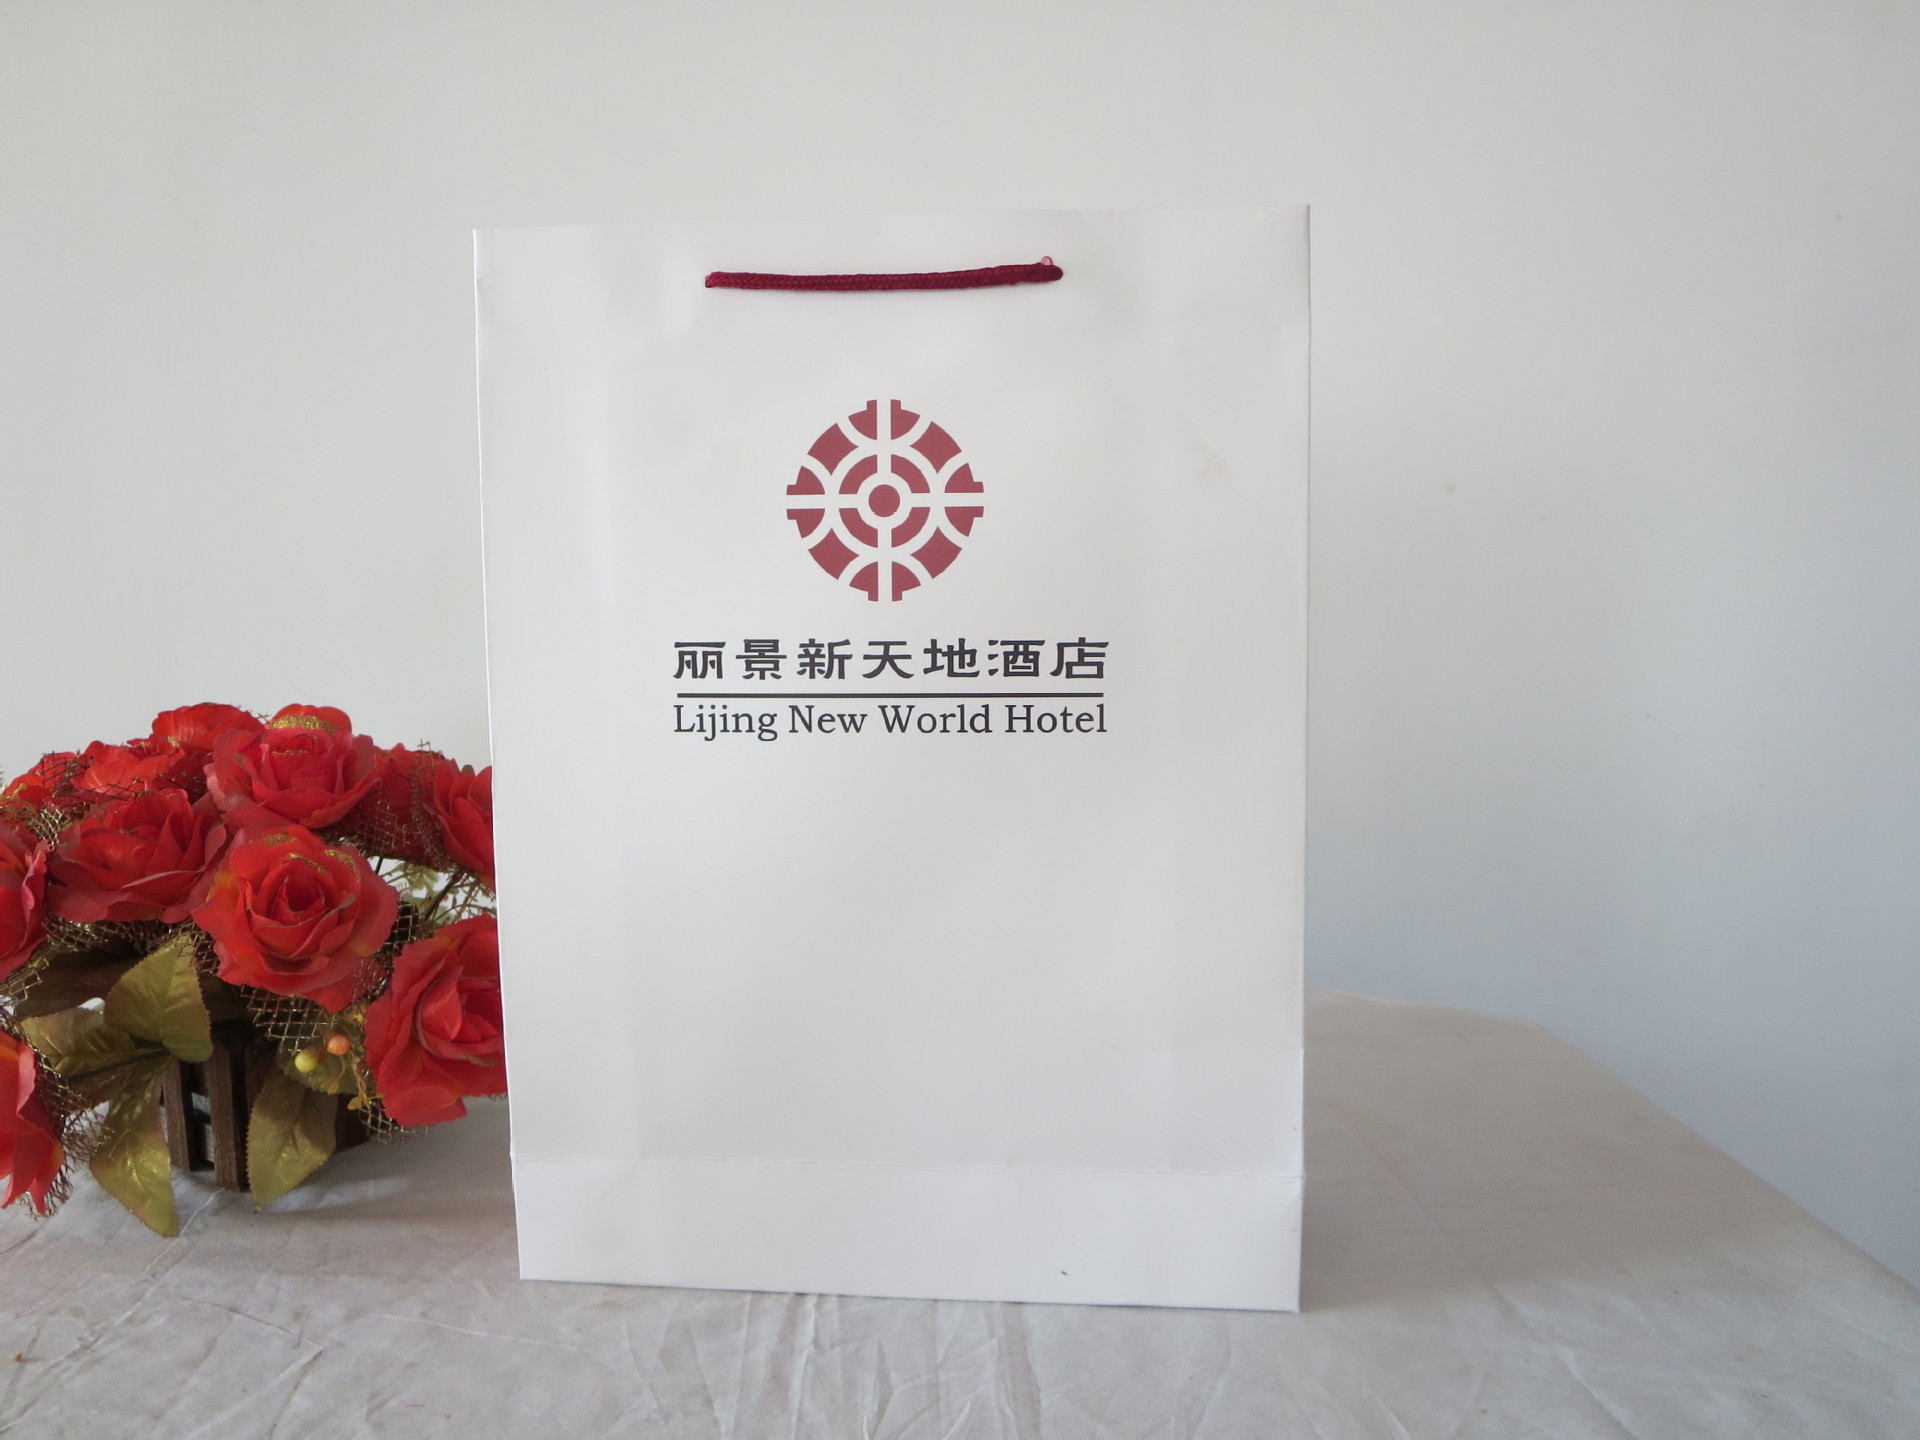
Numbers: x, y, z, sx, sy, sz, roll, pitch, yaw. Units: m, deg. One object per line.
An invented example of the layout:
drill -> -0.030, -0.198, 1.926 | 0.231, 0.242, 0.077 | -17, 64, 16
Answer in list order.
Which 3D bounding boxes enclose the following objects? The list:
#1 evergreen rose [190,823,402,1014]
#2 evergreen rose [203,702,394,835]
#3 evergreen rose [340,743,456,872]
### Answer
evergreen rose -> -0.734, 0.218, 2.046 | 0.206, 0.195, 0.100 | -2, 9, -13
evergreen rose -> -0.782, 0.042, 2.134 | 0.149, 0.070, 0.140 | 15, 36, 38
evergreen rose -> -0.659, 0.107, 2.161 | 0.132, 0.133, 0.066 | 9, 0, -17
